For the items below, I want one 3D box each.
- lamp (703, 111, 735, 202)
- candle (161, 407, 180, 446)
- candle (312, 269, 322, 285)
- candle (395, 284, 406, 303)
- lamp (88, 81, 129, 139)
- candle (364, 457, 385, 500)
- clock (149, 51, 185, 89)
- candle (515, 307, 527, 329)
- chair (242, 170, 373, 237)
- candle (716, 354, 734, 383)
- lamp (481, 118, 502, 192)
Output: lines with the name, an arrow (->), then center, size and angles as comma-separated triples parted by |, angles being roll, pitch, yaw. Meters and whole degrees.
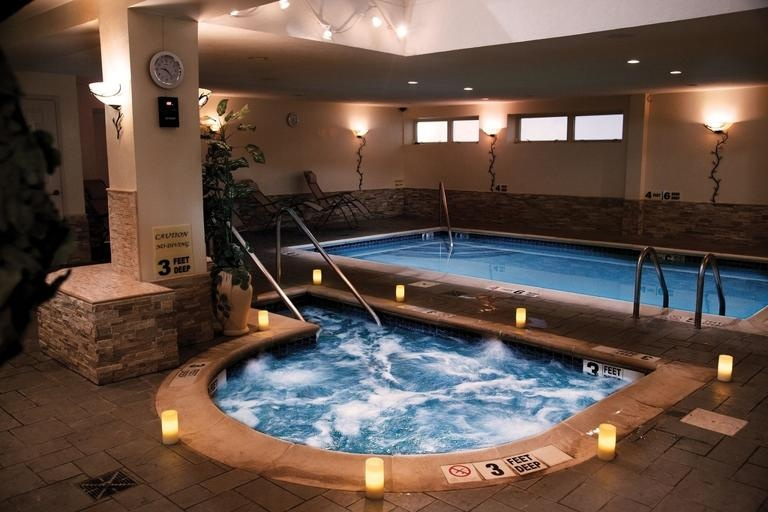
lamp -> 7.582, -2.208, 10.384 | 0.525, 1.975, 0.238 | 8, 18, 30
candle -> -1.615, 1.262, 3.371 | 0.123, 0.243, 0.179 | -9, 17, -27
candle -> -1.116, 0.354, 7.426 | 0.159, 0.211, 0.305 | -3, 14, -8
candle -> 0.231, 0.535, 6.549 | 0.125, 0.221, 0.214 | -1, 14, -1
lamp -> -2.863, -1.522, 4.681 | 0.249, 0.615, 0.490 | -12, 19, -36
candle -> -0.059, 1.362, 2.840 | 0.126, 0.239, 0.217 | -1, 14, -1
clock -> -2.224, -1.902, 4.619 | 0.337, 0.359, 0.052 | -14, 20, -43
candle -> 1.698, 0.767, 5.581 | 0.138, 0.211, 0.335 | 4, 14, 16
chair -> -2.396, -1.445, 13.215 | 3.148, 1.203, 1.738 | 3, 7, 24
candle -> 3.162, 1.044, 4.174 | 0.116, 0.236, 0.083 | 10, 19, 35
lamp -> 3.213, -3.087, 13.725 | 0.636, 2.212, 0.378 | 7, 17, 27
